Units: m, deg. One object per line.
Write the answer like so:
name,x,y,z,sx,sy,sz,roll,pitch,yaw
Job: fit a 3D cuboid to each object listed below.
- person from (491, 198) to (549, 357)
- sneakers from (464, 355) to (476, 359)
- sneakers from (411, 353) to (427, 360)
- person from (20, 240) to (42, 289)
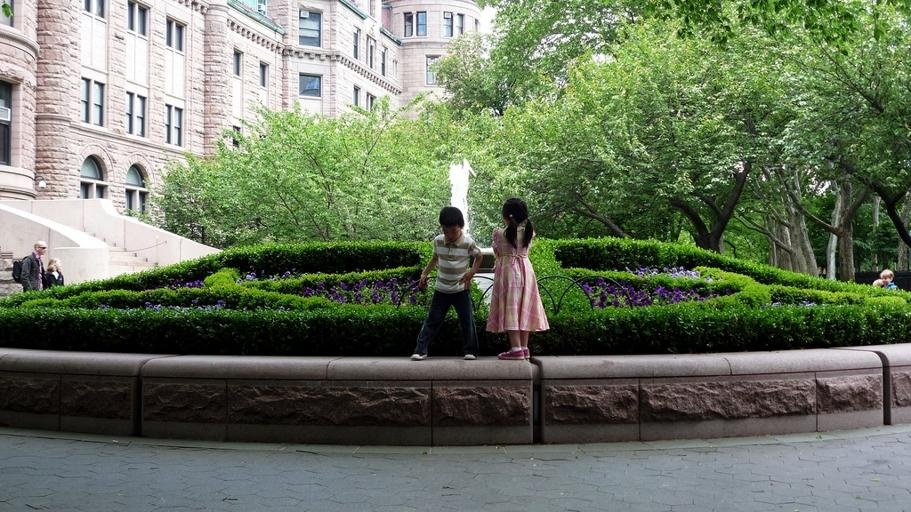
person,1.161,0.424,16.710,1.086,2.198,0.492,-2,-1,1
sneakers,0.297,1.920,16.476,0.242,0.066,0.189,-1,-1,4
sneakers,-0.711,1.920,16.442,0.127,0.107,0.294,-7,-16,29
person,-12.049,0.246,24.455,0.629,1.376,2.481,-1,-1,-27
